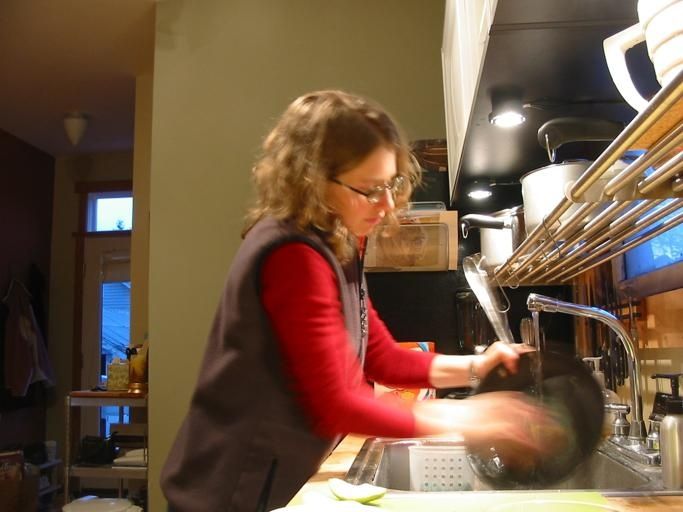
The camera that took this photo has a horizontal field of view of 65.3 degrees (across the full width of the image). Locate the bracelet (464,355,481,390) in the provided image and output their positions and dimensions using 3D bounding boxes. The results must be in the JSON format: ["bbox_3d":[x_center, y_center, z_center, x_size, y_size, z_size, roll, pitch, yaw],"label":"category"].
[{"bbox_3d":[0.353,0.318,1.419,0.015,0.066,0.061,0,28,-10],"label":"bracelet"}]

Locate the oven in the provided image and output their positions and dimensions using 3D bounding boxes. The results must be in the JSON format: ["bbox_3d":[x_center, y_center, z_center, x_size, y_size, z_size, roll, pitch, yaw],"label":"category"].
[{"bbox_3d":[0.290,-0.058,2.287,0.414,0.310,0.253,0,6,8],"label":"oven"}]

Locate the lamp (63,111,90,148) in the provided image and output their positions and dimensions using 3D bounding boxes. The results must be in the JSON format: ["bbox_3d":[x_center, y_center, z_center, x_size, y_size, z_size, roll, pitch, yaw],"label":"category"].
[{"bbox_3d":[-2.097,-1.016,4.201,0.177,0.277,0.186,-1,5,-15],"label":"lamp"}]
